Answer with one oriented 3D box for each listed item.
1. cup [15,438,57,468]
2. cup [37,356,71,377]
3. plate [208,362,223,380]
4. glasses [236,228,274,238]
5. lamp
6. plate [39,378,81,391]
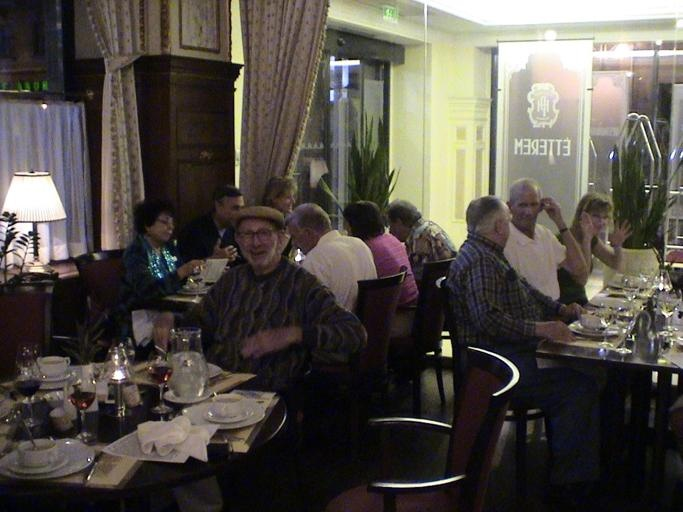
[{"bbox_3d":[-0.918,0.594,1.764,0.078,0.056,0.090,1,-2,13],"label":"cup"},{"bbox_3d":[-1.124,0.423,2.267,0.094,0.054,0.105,2,1,4],"label":"cup"},{"bbox_3d":[-0.519,0.470,2.398,0.053,0.012,0.058,11,30,9],"label":"plate"},{"bbox_3d":[-0.406,-0.105,2.727,0.170,0.043,0.055,1,8,5],"label":"glasses"},{"bbox_3d":[-2.089,-0.237,3.997,0.362,0.679,0.455,-5,9,-31],"label":"lamp"},{"bbox_3d":[-1.022,0.464,2.122,0.094,0.021,0.101,-1,0,4],"label":"plate"}]
